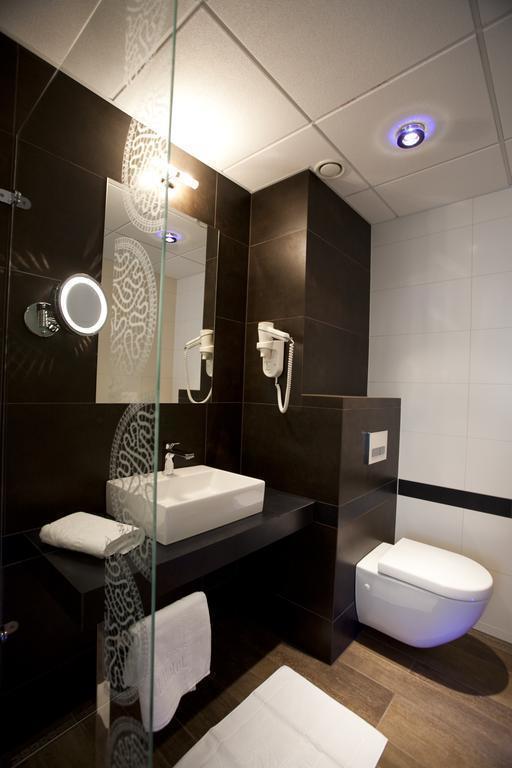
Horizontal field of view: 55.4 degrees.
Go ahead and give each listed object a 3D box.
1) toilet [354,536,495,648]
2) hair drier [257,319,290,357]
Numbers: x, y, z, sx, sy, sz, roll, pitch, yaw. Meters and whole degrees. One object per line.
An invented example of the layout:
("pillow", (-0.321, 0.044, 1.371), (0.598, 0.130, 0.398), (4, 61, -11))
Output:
("toilet", (0.686, 0.745, 2.010), (0.448, 0.442, 0.351), (0, 3, 39))
("hair drier", (0.080, -0.198, 2.048), (0.144, 0.212, 0.092), (2, 3, 7))
